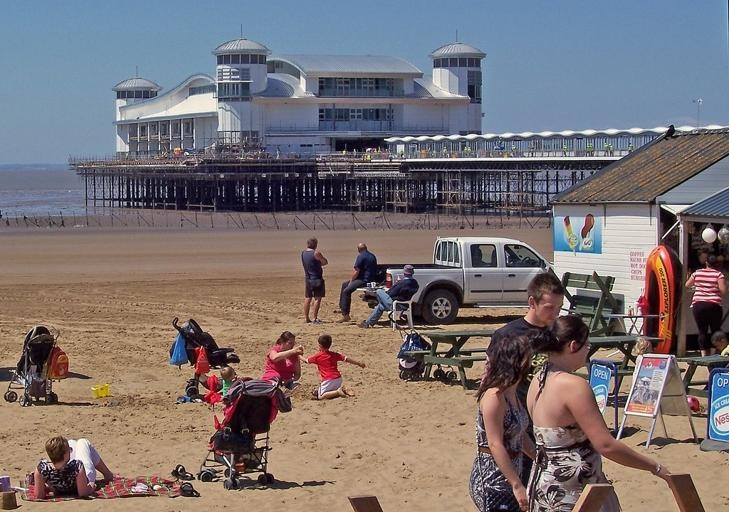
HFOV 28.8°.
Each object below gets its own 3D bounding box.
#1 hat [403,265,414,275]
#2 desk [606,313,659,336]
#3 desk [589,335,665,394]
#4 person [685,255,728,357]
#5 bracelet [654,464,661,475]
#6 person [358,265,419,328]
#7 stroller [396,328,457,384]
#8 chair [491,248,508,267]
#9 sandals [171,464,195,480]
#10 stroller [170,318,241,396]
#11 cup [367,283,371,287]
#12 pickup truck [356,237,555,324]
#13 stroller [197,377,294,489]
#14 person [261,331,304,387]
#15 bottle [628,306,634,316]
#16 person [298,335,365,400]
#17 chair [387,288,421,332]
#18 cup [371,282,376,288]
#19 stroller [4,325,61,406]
[{"bbox_3d":[0.864,0.311,29.024,0.152,0.157,0.198,-1,-1,-26],"label":"hat"},{"bbox_3d":[4.859,1.287,26.084,0.599,0.368,0.601,1,1,-17],"label":"desk"},{"bbox_3d":[4.283,2.022,23.746,1.226,1.048,1.037,0,4,7],"label":"desk"},{"bbox_3d":[5.995,0.897,24.753,0.604,1.691,1.191,-1,3,2],"label":"person"},{"bbox_3d":[3.679,2.715,17.888,0.041,0.110,0.109,-1,-16,-15],"label":"bracelet"},{"bbox_3d":[0.496,0.866,29.296,0.555,1.270,1.146,-4,4,-43],"label":"person"},{"bbox_3d":[1.310,1.872,25.436,0.360,0.658,1.284,24,-11,7],"label":"stroller"},{"bbox_3d":[2.799,0.073,29.996,0.401,0.413,0.307,0,1,-1],"label":"chair"},{"bbox_3d":[-2.764,3.278,21.239,0.283,0.125,0.222,13,6,34],"label":"sandals"},{"bbox_3d":[-2.778,1.798,24.742,1.180,1.422,0.877,1,0,8],"label":"stroller"},{"bbox_3d":[0.051,0.655,30.139,0.074,0.073,0.074,2,5,0],"label":"cup"},{"bbox_3d":[2.525,0.528,30.737,4.050,1.726,2.115,-2,5,-14],"label":"pickup truck"},{"bbox_3d":[-1.859,2.671,21.288,1.091,1.612,1.345,4,-8,-32],"label":"stroller"},{"bbox_3d":[-1.369,1.714,22.912,0.626,0.920,1.271,-2,3,-4],"label":"person"},{"bbox_3d":[4.998,1.066,26.740,0.141,0.265,0.142,1,-5,0],"label":"bottle"},{"bbox_3d":[-0.627,1.975,24.323,1.098,1.258,0.705,4,5,32],"label":"person"},{"bbox_3d":[0.778,1.218,29.273,0.635,0.891,0.643,0,-2,-3],"label":"chair"},{"bbox_3d":[0.155,0.652,30.068,0.103,0.119,0.103,2,3,0],"label":"cup"},{"bbox_3d":[-5.620,1.889,24.074,0.668,1.318,0.415,-2,3,-11],"label":"stroller"}]
